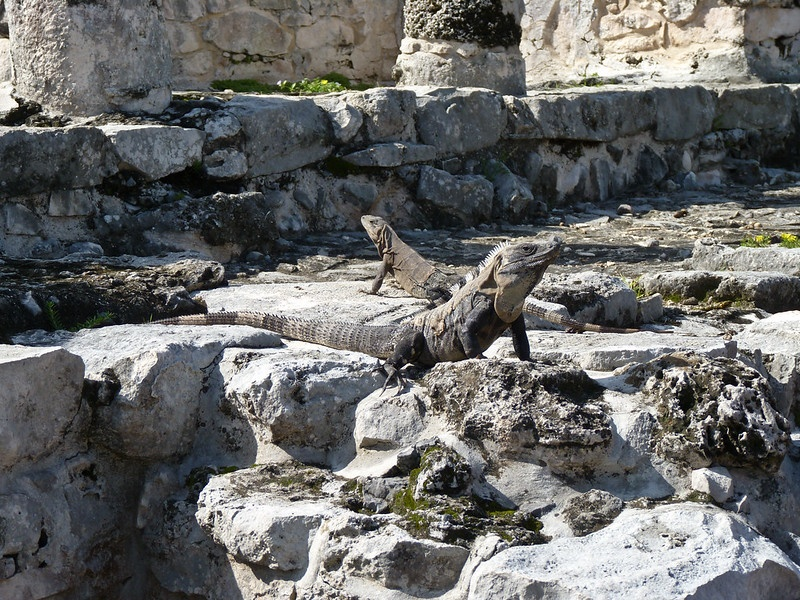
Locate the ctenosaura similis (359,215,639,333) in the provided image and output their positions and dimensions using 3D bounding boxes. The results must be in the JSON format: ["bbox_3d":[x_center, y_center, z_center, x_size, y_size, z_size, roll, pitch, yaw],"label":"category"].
[{"bbox_3d":[0.868,-0.210,16.857,0.486,0.387,2.067,13,11,-44],"label":"ctenosaura similis"}]
